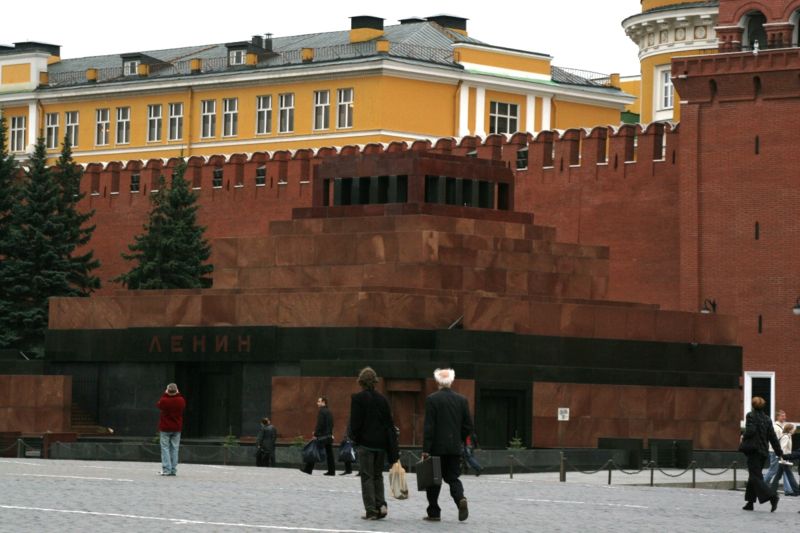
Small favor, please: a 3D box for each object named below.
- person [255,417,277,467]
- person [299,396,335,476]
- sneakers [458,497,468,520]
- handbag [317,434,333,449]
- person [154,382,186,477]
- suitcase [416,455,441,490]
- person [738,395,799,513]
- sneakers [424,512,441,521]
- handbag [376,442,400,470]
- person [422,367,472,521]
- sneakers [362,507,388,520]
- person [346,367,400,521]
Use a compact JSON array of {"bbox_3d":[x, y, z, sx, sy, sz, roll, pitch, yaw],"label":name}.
[{"bbox_3d":[-3.226,4.238,45.861,0.456,1.179,0.647,1,-8,-5],"label":"person"},{"bbox_3d":[-1.897,3.926,44.049,0.795,1.797,1.519,0,-8,-3],"label":"person"},{"bbox_3d":[1.159,4.536,35.527,0.175,0.416,0.195,-1,6,-6],"label":"sneakers"},{"bbox_3d":[-1.707,4.010,43.665,0.437,0.440,0.345,1,3,5],"label":"handbag"},{"bbox_3d":[-4.941,3.522,41.049,0.551,1.996,0.792,1,-8,-6],"label":"person"},{"bbox_3d":[0.529,3.856,35.590,0.457,0.621,0.437,-2,-8,16],"label":"suitcase"},{"bbox_3d":[7.313,3.804,38.777,0.821,2.351,1.605,-2,-8,11],"label":"person"},{"bbox_3d":[0.593,4.730,35.832,0.126,0.122,0.331,2,-8,-34],"label":"sneakers"},{"bbox_3d":[-0.230,3.594,36.064,0.415,0.468,0.622,-1,-8,7],"label":"handbag"},{"bbox_3d":[0.887,3.345,35.941,0.893,2.887,0.961,0,-8,2],"label":"person"},{"bbox_3d":[-0.442,4.633,35.656,0.197,0.215,0.502,0,-1,-18],"label":"sneakers"},{"bbox_3d":[-0.632,3.378,36.227,1.101,2.841,1.016,4,-10,-35],"label":"person"}]
